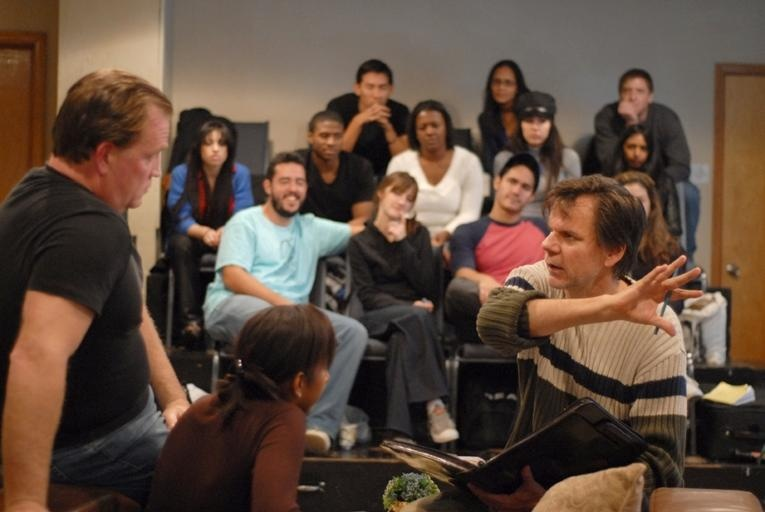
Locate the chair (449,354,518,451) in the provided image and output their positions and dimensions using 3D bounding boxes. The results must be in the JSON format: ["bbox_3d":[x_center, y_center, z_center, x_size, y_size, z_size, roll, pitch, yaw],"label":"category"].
[{"bbox_3d":[0.558,0.717,3.758,0.383,0.568,0.281,-2,9,-2],"label":"chair"}]

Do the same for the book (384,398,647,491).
[{"bbox_3d":[0.433,0.567,2.031,0.532,0.155,0.365,-4,-26,33],"label":"book"}]

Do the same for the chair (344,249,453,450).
[{"bbox_3d":[0.145,0.298,3.755,0.507,1.244,0.742,4,-4,-18],"label":"chair"}]

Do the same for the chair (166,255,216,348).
[{"bbox_3d":[-1.154,0.313,4.099,0.383,0.382,0.389,-4,-28,0],"label":"chair"}]

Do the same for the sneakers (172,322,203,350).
[{"bbox_3d":[-1.135,0.468,4.021,0.144,0.137,0.084,3,7,12],"label":"sneakers"}]

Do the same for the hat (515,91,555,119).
[{"bbox_3d":[1.057,-1.021,4.781,0.211,0.166,0.245,3,0,-5],"label":"hat"}]
